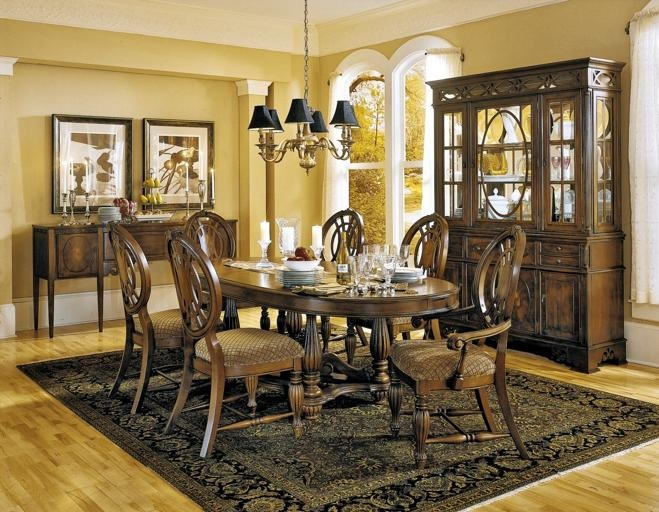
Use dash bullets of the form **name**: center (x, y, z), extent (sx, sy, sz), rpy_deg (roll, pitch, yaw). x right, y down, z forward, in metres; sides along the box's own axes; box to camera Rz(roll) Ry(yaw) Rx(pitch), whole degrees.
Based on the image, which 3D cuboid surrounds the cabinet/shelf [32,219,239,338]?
- **cabinet/shelf**: center (-1.946, 0.176, 6.013), extent (2.182, 0.981, 0.497), rpy_deg (-4, 0, -27)

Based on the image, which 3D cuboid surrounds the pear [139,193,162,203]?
- **pear**: center (-2.071, -0.670, 6.201), extent (0.210, 0.095, 0.116), rpy_deg (-1, 5, 1)

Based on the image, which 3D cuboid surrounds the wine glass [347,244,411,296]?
- **wine glass**: center (0.287, 0.080, 3.206), extent (0.357, 0.306, 0.279), rpy_deg (0, -2, 1)

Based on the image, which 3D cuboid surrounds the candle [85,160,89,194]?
- **candle**: center (-2.696, -0.884, 5.939), extent (0.037, 0.360, 0.054), rpy_deg (-1, 7, -7)

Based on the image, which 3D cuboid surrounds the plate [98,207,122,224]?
- **plate**: center (-2.375, -0.447, 5.789), extent (0.402, 0.153, 0.461), rpy_deg (-1, 5, -25)

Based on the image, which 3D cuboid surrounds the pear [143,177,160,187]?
- **pear**: center (-2.064, -0.853, 6.251), extent (0.132, 0.049, 0.131), rpy_deg (-3, 2, 8)

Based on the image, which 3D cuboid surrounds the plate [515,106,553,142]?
- **plate**: center (1.743, -1.124, 4.555), extent (0.109, 0.320, 0.256), rpy_deg (4, 12, -4)

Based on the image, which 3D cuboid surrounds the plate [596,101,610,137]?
- **plate**: center (2.229, -1.119, 4.385), extent (0.044, 0.311, 0.226), rpy_deg (6, 10, 45)
